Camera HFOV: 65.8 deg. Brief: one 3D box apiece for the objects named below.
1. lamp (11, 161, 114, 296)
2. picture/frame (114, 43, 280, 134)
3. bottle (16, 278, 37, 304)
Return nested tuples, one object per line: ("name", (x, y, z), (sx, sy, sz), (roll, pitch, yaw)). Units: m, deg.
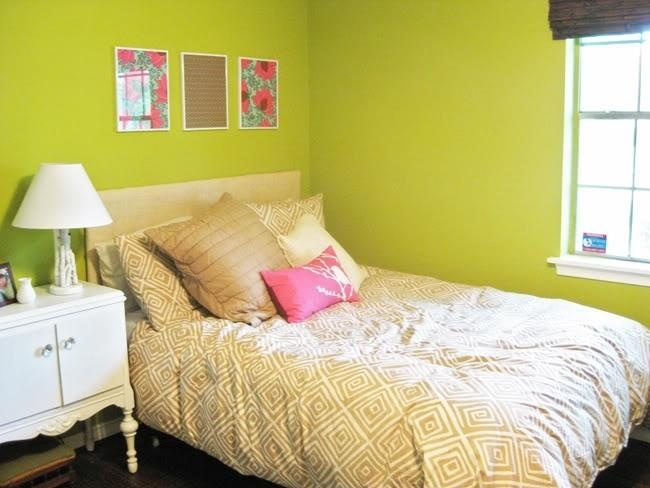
("lamp", (-1.326, -0.114, 2.733), (0.586, 0.841, 0.598), (-6, 8, -38))
("picture/frame", (-0.792, -0.996, 3.304), (0.042, 0.499, 1.225), (12, 18, 43))
("bottle", (-1.393, 0.213, 2.342), (0.074, 0.105, 0.153), (-9, 15, -32))
